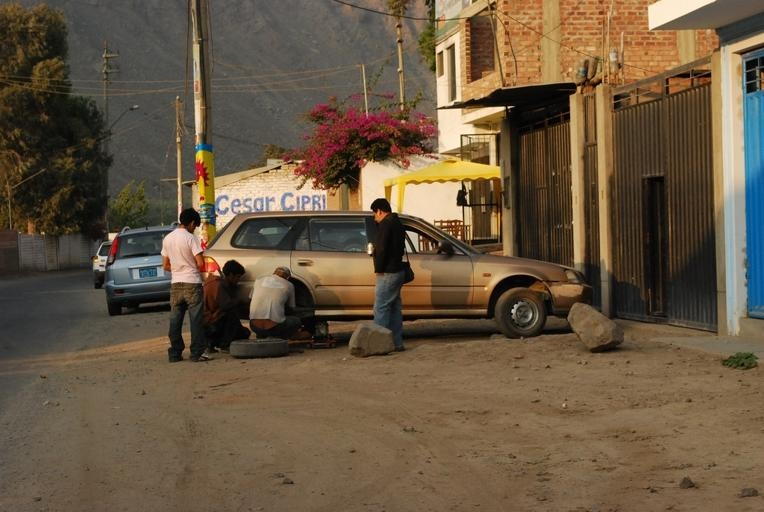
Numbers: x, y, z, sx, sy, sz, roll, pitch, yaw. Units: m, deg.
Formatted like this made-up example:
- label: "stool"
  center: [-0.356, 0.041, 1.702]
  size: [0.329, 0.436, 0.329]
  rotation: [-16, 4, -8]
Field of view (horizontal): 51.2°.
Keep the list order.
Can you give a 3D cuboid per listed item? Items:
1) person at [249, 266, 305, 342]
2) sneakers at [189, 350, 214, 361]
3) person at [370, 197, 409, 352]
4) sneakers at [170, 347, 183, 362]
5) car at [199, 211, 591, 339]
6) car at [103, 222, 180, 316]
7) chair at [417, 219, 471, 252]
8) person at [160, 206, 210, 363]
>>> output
- label: "person"
  center: [-1.794, 0.762, 13.325]
  size: [0.802, 1.391, 0.875]
  rotation: [12, 18, 17]
- label: "sneakers"
  center: [-2.895, 1.624, 12.913]
  size: [0.442, 0.187, 0.133]
  rotation: [-1, 4, -43]
- label: "person"
  center: [0.079, 0.294, 13.093]
  size: [0.572, 2.458, 0.812]
  rotation: [1, 7, 24]
- label: "sneakers"
  center: [-3.322, 1.587, 12.829]
  size: [0.161, 0.216, 0.213]
  rotation: [4, 4, 43]
- label: "car"
  center: [0.127, 0.205, 14.645]
  size: [6.347, 2.219, 2.715]
  rotation: [-2, 1, -3]
- label: "car"
  center: [-6.201, 0.181, 21.040]
  size: [1.571, 1.550, 2.942]
  rotation: [-1, 7, -6]
- label: "chair"
  center: [1.580, -0.548, 19.780]
  size: [1.212, 0.829, 1.258]
  rotation: [-1, 3, -1]
- label: "person"
  center: [-3.166, 0.478, 12.756]
  size: [0.643, 2.453, 0.525]
  rotation: [-3, 7, -9]
